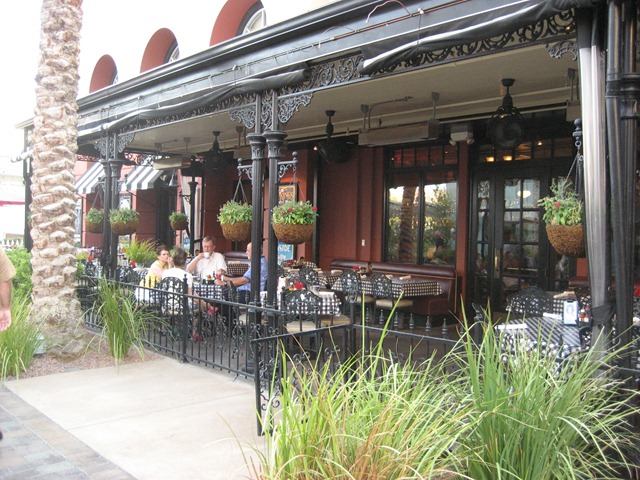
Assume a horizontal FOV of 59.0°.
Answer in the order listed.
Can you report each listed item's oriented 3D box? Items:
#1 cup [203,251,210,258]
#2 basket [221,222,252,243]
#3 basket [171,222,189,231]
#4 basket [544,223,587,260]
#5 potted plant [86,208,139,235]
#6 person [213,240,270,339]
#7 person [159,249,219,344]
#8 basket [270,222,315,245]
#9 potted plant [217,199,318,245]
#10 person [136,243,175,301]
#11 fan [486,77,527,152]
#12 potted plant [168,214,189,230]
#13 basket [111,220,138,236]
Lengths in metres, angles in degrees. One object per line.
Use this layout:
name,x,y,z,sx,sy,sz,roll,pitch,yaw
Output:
cup,-2.071,0.265,10.289,0.090,0.092,0.107,-2,-6,30
basket,-1.175,-0.110,8.134,0.284,0.164,0.306,-2,-6,14
basket,-3.343,-0.317,13.511,0.241,0.111,0.262,-2,-8,2
basket,2.361,0.011,5.477,0.355,0.298,0.369,-3,2,40
potted plant,-4.163,-0.372,11.268,0.640,0.716,1.588,2,-4,-44
person,-1.310,0.759,8.879,0.657,1.641,0.757,-2,4,-43
person,-2.071,0.757,8.384,0.768,1.682,0.874,0,3,-37
basket,-0.361,-0.089,7.249,0.494,0.262,0.351,-1,-1,-6
potted plant,-0.685,-0.261,7.626,1.418,0.701,0.596,3,2,37
person,-2.650,0.521,9.059,0.434,0.921,0.438,4,3,31
fan,2.634,-1.760,7.888,0.444,0.967,0.469,-4,6,-24
potted plant,-3.360,-0.423,13.395,0.354,0.369,0.370,5,-8,-24
basket,-3.612,-0.211,10.350,0.434,0.204,0.359,-1,-1,-23
